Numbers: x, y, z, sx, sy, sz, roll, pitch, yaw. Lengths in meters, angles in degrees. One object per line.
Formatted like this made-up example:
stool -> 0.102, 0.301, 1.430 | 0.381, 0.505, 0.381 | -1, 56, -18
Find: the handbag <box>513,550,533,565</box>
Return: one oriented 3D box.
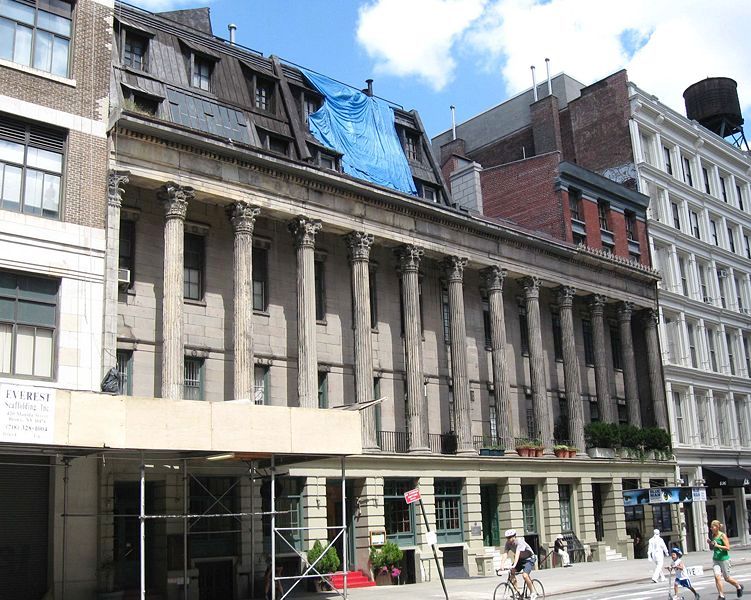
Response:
handbag -> 4.625, 8.073, 27.015 | 0.341, 0.687, 0.471 | 14, -17, -43
